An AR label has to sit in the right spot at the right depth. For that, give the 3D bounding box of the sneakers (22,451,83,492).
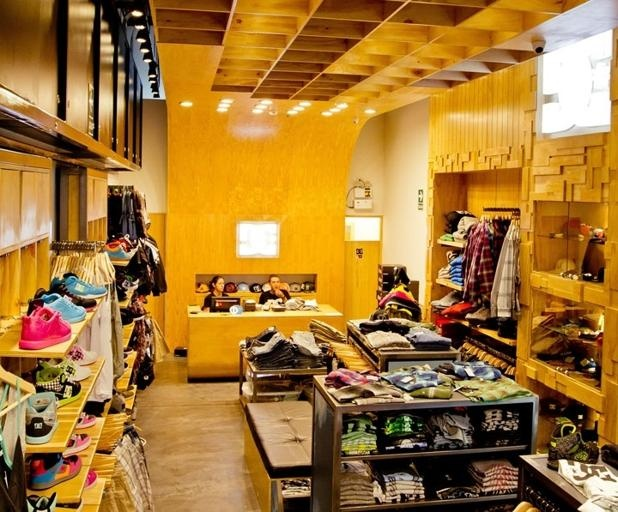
[{"bbox_3d":[-1.171,0.968,2.332,0.102,0.181,0.309,3,-6,16],"label":"sneakers"}]

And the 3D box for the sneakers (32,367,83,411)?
[{"bbox_3d":[-1.209,0.625,2.407,0.112,0.139,0.340,19,-4,19],"label":"sneakers"}]

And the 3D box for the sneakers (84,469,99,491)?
[{"bbox_3d":[-1.148,1.188,2.624,0.049,0.049,0.132,1,4,-1],"label":"sneakers"}]

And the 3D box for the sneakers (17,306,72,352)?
[{"bbox_3d":[-1.082,0.295,2.063,0.144,0.129,0.318,9,1,-3],"label":"sneakers"}]

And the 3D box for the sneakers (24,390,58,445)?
[{"bbox_3d":[-1.060,0.650,1.974,0.081,0.084,0.234,0,1,-16],"label":"sneakers"}]

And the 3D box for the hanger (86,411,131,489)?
[{"bbox_3d":[-1.364,1.296,3.390,0.229,0.272,0.726,0,2,-8],"label":"hanger"}]

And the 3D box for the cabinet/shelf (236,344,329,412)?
[{"bbox_3d":[-0.333,1.352,5.362,1.052,0.600,0.931,1,0,-9],"label":"cabinet/shelf"}]

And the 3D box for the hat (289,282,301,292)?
[{"bbox_3d":[-0.248,0.566,9.187,0.236,0.157,0.124,1,5,-3],"label":"hat"}]

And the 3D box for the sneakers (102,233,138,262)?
[{"bbox_3d":[-1.919,-0.078,5.124,0.181,0.202,0.522,2,6,2],"label":"sneakers"}]

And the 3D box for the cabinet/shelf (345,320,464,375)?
[{"bbox_3d":[0.808,0.808,4.493,0.696,0.322,0.936,1,4,-11],"label":"cabinet/shelf"}]

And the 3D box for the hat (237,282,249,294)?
[{"bbox_3d":[-1.172,0.562,8.930,0.229,0.168,0.173,1,5,-9],"label":"hat"}]

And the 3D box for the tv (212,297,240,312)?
[{"bbox_3d":[-1.241,0.712,7.390,0.397,0.201,0.244,2,-3,-2],"label":"tv"}]

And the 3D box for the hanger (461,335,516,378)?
[{"bbox_3d":[2.079,1.159,5.746,0.691,0.199,0.663,1,7,6],"label":"hanger"}]

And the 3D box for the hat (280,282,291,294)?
[{"bbox_3d":[-0.422,0.553,9.002,0.160,0.114,0.174,-2,-1,-6],"label":"hat"}]

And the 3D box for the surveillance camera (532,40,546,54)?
[{"bbox_3d":[1.908,-1.748,4.124,0.069,0.059,0.077,-2,0,-8],"label":"surveillance camera"}]

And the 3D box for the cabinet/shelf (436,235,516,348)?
[{"bbox_3d":[1.972,0.257,5.670,0.486,1.279,1.309,2,4,-3],"label":"cabinet/shelf"}]

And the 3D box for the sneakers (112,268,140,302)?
[{"bbox_3d":[-1.932,0.290,5.336,0.213,0.244,0.602,2,4,0],"label":"sneakers"}]

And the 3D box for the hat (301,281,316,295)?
[{"bbox_3d":[0.004,0.569,9.160,0.243,0.197,0.245,1,4,-4],"label":"hat"}]

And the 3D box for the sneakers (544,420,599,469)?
[{"bbox_3d":[1.272,0.936,2.448,0.330,0.135,0.137,2,7,-15],"label":"sneakers"}]

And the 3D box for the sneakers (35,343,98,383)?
[{"bbox_3d":[-1.227,0.583,2.508,0.235,0.085,0.242,0,12,-19],"label":"sneakers"}]
